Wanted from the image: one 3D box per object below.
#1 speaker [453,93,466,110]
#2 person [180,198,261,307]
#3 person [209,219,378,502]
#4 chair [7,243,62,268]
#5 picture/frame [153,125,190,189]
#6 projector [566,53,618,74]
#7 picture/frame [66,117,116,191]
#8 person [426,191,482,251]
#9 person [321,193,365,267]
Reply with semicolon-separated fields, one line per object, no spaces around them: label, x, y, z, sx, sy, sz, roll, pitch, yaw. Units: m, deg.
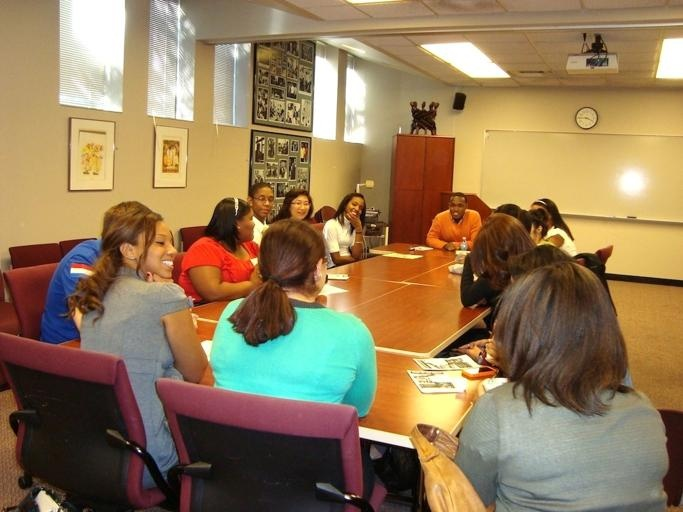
speaker;2.229;-2.903;9.398;0.239;0.322;0.213;4;9;12
person;-0.809;-0.045;3.510;0.506;0.727;0.741;10;8;16
person;-0.133;0.323;1.998;0.609;0.903;0.757;0;11;-10
chair;-2.720;-0.003;4.388;0.149;0.201;0.203;4;7;28
picture/frame;-2.079;-1.207;6.031;0.055;0.874;0.717;8;12;28
projector;2.994;-2.300;5.973;0.545;0.208;0.233;6;10;23
picture/frame;-2.614;-1.062;5.164;0.036;0.985;0.697;7;11;29
person;1.379;-0.368;6.215;0.730;1.019;0.691;2;2;22
person;0.045;-0.261;5.259;0.446;0.842;0.426;15;11;41
